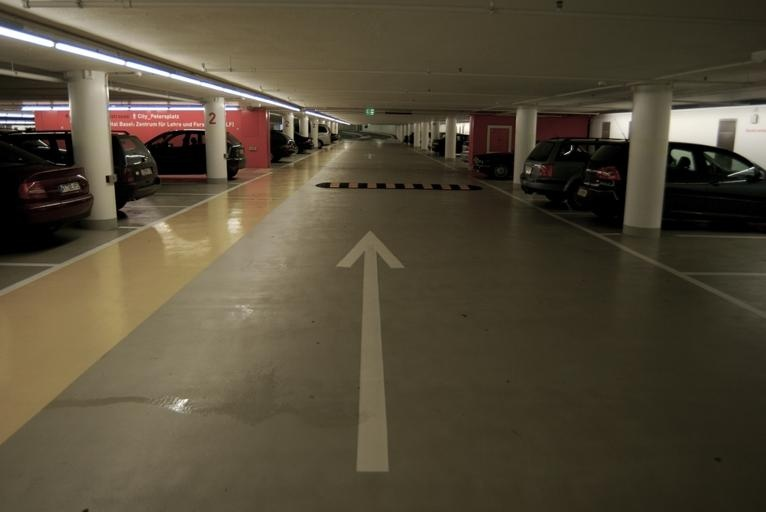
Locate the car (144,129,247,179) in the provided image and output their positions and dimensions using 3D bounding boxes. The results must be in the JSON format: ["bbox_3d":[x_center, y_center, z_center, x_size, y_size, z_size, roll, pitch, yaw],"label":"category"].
[{"bbox_3d":[-7.397,-4.110,20.368,3.351,1.765,1.969,4,8,-4],"label":"car"}]

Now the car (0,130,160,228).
[{"bbox_3d":[-7.506,-2.039,12.090,3.792,1.532,1.849,5,7,-8],"label":"car"}]

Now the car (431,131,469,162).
[{"bbox_3d":[5.253,-8.779,40.146,3.229,2.150,2.393,0,9,-1],"label":"car"}]

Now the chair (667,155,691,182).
[{"bbox_3d":[6.673,-1.997,11.775,0.548,0.586,0.578,0,2,4],"label":"chair"}]
